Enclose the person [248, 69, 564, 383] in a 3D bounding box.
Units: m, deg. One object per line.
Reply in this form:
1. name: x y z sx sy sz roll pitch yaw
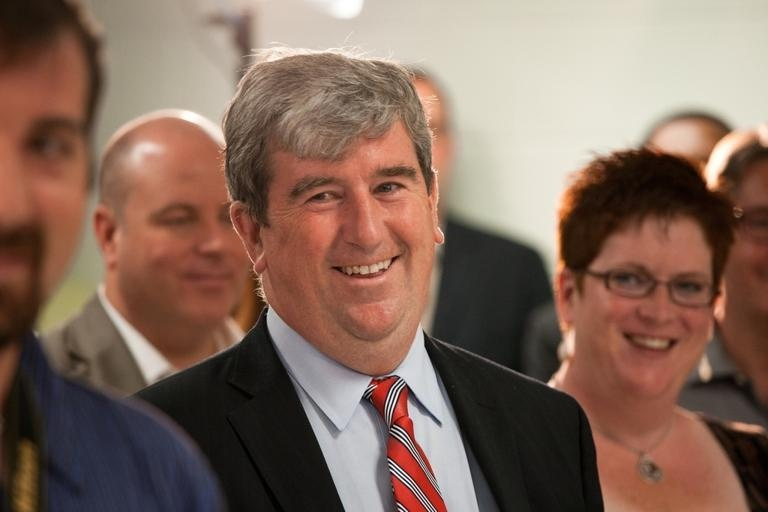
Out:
1. person: 0.207 -0.112 4.781 1.606 1.416 0.483 6 7 39
